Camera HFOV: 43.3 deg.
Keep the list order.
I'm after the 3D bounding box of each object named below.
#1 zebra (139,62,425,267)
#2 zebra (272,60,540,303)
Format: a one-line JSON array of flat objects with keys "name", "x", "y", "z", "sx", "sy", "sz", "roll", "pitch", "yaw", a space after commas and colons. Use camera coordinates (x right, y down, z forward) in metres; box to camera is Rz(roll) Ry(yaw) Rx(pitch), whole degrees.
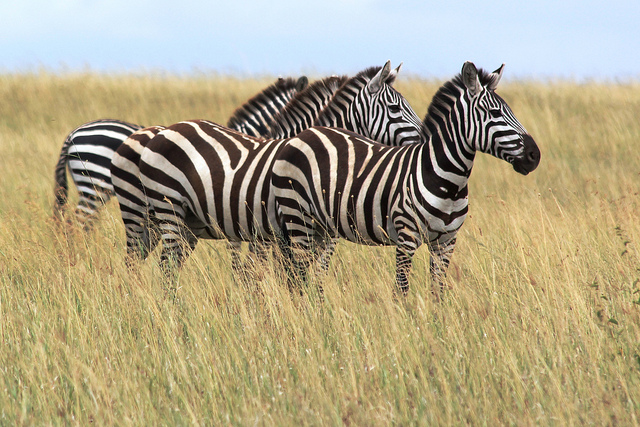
[{"name": "zebra", "x": -0.477, "y": -0.245, "z": 9.316, "sx": 3.410, "sy": 2.722, "sz": 1.148, "roll": -1, "pitch": 2, "yaw": 11}, {"name": "zebra", "x": 0.780, "y": -0.181, "z": 8.829, "sx": 3.160, "sy": 2.862, "sz": 1.025, "roll": 8, "pitch": 13, "yaw": 36}]
